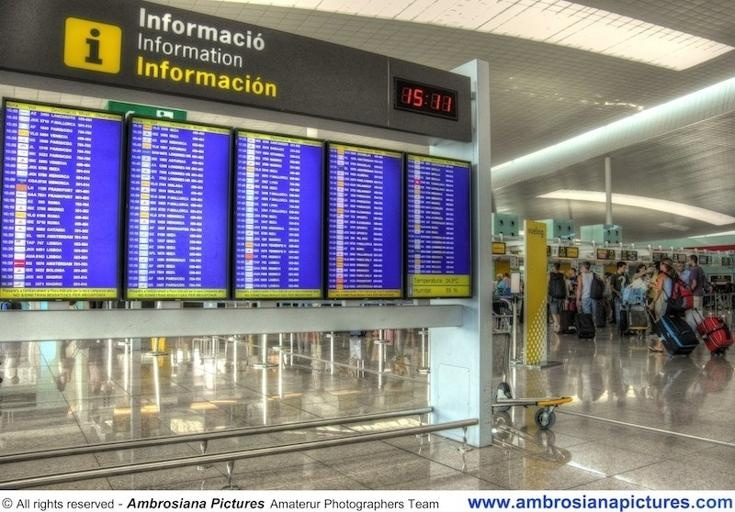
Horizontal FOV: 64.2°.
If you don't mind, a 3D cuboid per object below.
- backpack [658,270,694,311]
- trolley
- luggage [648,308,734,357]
[{"bbox_3d":[6.594,0.760,12.409,0.755,0.836,0.317,0,-2,-41],"label":"backpack"},{"bbox_3d":[1.968,1.346,6.900,0.857,1.614,0.917,-2,3,-34],"label":"trolley"},{"bbox_3d":[6.711,1.569,12.061,1.101,1.449,1.149,0,-3,6],"label":"luggage"}]
